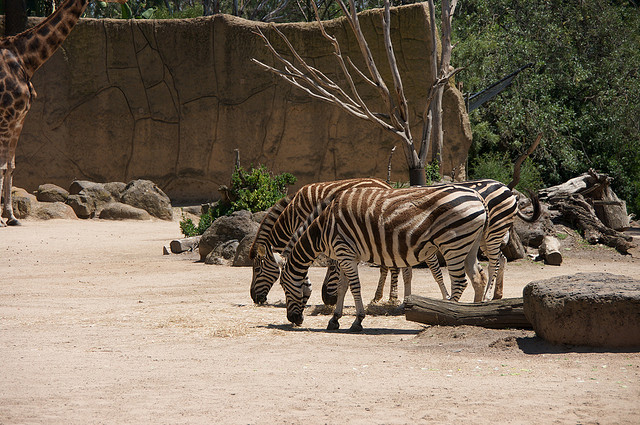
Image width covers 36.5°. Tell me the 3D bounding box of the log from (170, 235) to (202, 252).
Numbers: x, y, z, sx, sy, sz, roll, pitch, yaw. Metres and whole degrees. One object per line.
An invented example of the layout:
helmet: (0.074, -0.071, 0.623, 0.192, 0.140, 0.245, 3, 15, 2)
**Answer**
log: (-3.505, 0.821, 25.055, 0.318, 0.420, 0.793, -1, -4, 41)

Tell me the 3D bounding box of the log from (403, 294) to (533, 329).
log: (2.810, 1.868, 18.370, 2.583, 0.550, 0.775, 0, -28, 8)

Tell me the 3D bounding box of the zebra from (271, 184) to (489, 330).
zebra: (1.350, 0.872, 19.025, 3.810, 2.867, 0.926, 1, -3, 10)

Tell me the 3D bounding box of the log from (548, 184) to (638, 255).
log: (7.101, 0.259, 25.560, 2.030, 1.666, 0.894, 1, -3, 22)

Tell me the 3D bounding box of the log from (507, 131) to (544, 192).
log: (4.425, -1.105, 20.964, 0.588, 0.102, 1.814, -19, -31, -8)

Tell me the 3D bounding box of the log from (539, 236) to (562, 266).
log: (5.680, 0.967, 23.827, 0.386, 0.300, 0.759, -3, 14, 3)
